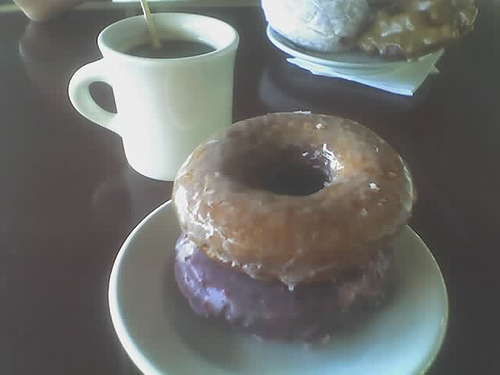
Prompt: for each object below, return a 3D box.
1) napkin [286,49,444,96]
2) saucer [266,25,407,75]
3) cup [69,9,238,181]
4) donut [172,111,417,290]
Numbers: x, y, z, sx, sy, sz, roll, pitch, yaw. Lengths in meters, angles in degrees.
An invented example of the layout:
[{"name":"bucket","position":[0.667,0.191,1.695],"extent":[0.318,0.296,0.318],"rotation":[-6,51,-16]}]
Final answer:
[{"name":"napkin","position":[0.297,-0.223,1.013],"extent":[0.155,0.023,0.155],"rotation":[-31,46,-34]},{"name":"saucer","position":[0.167,-0.305,1.059],"extent":[0.201,0.081,0.258],"rotation":[-10,25,-19]},{"name":"cup","position":[-0.133,-0.153,0.857],"extent":[0.269,0.214,0.221],"rotation":[-13,43,-14]},{"name":"donut","position":[0.057,0.006,0.642],"extent":[0.272,0.089,0.242],"rotation":[26,67,12]}]
